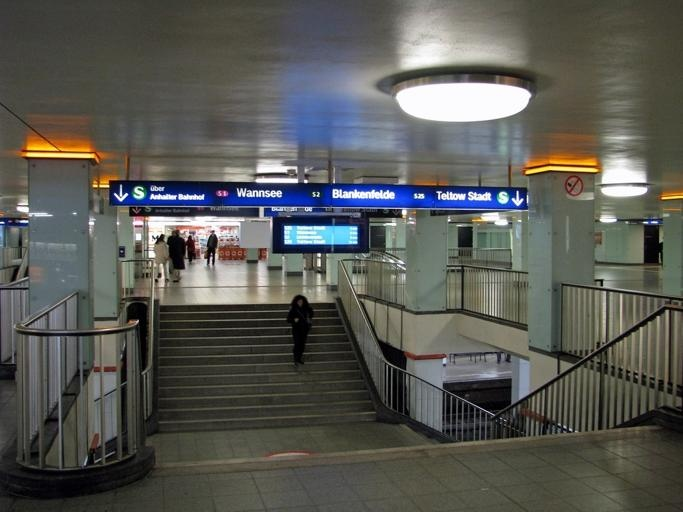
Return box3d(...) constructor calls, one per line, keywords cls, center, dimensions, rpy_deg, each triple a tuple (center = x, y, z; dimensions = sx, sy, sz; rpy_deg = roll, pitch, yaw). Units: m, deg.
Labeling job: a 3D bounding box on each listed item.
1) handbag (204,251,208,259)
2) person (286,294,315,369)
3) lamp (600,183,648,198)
box3d(cls="handbag", center=(-9.028, -0.077, 36.044), dimensions=(0.151, 0.545, 0.604), rpy_deg=(2, -2, -32))
box3d(cls="person", center=(-1.098, 1.905, 14.073), dimensions=(0.617, 1.893, 1.161), rpy_deg=(-1, 3, -5))
box3d(cls="lamp", center=(6.573, -1.561, 12.663), dimensions=(0.955, 0.252, 0.989), rpy_deg=(1, 4, 27))
